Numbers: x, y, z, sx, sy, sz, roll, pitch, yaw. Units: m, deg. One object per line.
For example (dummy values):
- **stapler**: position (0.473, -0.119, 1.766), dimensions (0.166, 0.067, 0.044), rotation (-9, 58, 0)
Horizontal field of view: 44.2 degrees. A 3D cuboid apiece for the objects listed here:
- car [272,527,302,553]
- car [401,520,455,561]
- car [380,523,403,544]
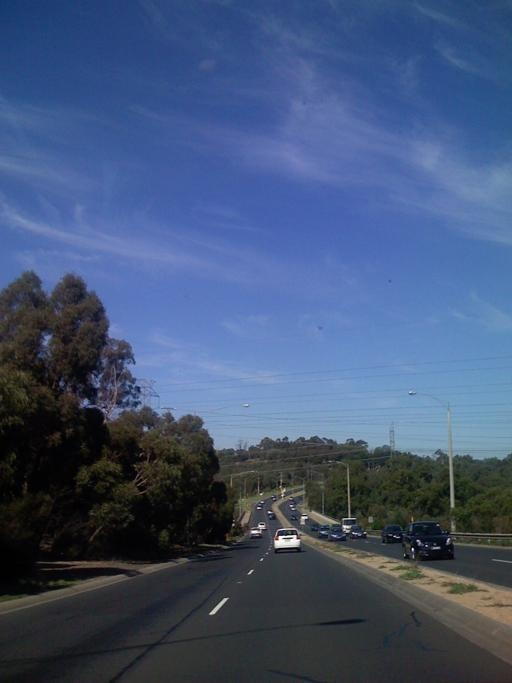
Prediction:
- **car**: position (1.719, 10.963, 34.684), dimensions (1.365, 1.274, 1.616), rotation (1, -10, -1)
- **car**: position (6.383, 7.493, 23.417), dimensions (1.564, 1.382, 2.633), rotation (0, -11, 8)
- **car**: position (9.578, 13.533, 44.336), dimensions (1.275, 1.032, 1.858), rotation (0, -11, 6)
